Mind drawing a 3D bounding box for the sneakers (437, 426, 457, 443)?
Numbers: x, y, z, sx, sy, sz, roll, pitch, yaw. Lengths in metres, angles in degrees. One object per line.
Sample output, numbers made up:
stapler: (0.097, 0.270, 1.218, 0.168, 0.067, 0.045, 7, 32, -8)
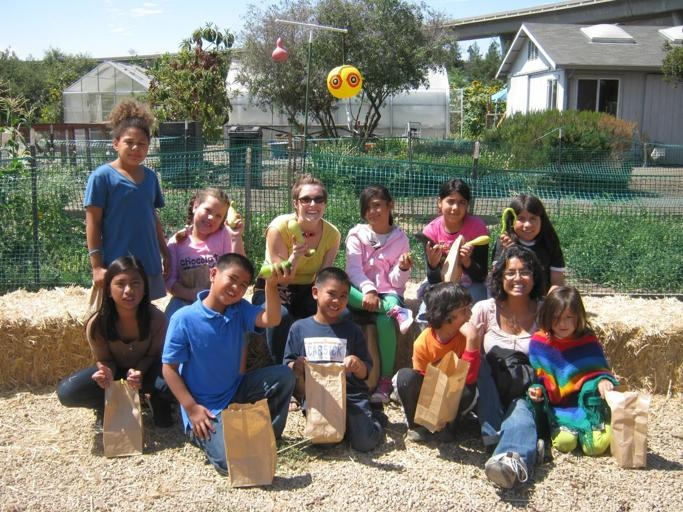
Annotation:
sneakers: (0.886, 1.510, 5.972, 0.104, 0.041, 0.160, 1, 33, 4)

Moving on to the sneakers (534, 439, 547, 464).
sneakers: (1.613, 1.591, 5.782, 0.071, 0.254, 0.112, 3, -10, 23)

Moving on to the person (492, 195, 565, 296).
person: (1.823, -0.032, 6.862, 0.616, 1.136, 0.743, 1, 7, 11)

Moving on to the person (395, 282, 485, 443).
person: (0.811, 0.909, 6.009, 0.726, 1.331, 0.423, 1, 7, 6)

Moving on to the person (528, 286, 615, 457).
person: (1.926, 0.976, 5.934, 0.698, 1.366, 0.619, -4, 6, 32)

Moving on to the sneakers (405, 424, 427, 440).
sneakers: (0.639, 1.508, 6.023, 0.118, 0.118, 0.256, 0, -10, 3)

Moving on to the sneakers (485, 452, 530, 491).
sneakers: (1.264, 1.650, 5.425, 0.200, 0.189, 0.352, 14, 4, 17)

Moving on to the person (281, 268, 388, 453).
person: (-0.059, 0.885, 6.105, 0.860, 1.563, 0.832, -1, 3, -15)

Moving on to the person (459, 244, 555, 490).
person: (1.427, 1.007, 6.092, 0.674, 1.968, 0.590, -7, -22, 35)

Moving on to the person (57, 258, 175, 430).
person: (-1.892, 0.768, 6.009, 0.867, 1.511, 0.597, -2, 8, -16)

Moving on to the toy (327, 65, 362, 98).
toy: (0.073, -3.669, 14.732, 0.654, 0.687, 0.933, 1, 7, 3)

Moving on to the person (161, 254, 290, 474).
person: (-0.924, 0.843, 5.775, 1.039, 1.690, 0.533, -1, 7, -6)

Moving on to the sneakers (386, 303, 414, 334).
sneakers: (0.554, 0.564, 6.492, 0.164, 0.144, 0.388, 9, 13, -9)

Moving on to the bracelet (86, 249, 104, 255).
bracelet: (-2.164, -0.033, 6.193, 0.141, 0.053, 0.073, 4, 8, 25)

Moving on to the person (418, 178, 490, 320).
person: (1.070, -0.048, 6.812, 0.732, 1.357, 0.956, 7, 16, 33)

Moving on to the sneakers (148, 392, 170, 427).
sneakers: (-1.559, 1.350, 6.150, 0.106, 0.263, 0.341, 5, -6, 34)
